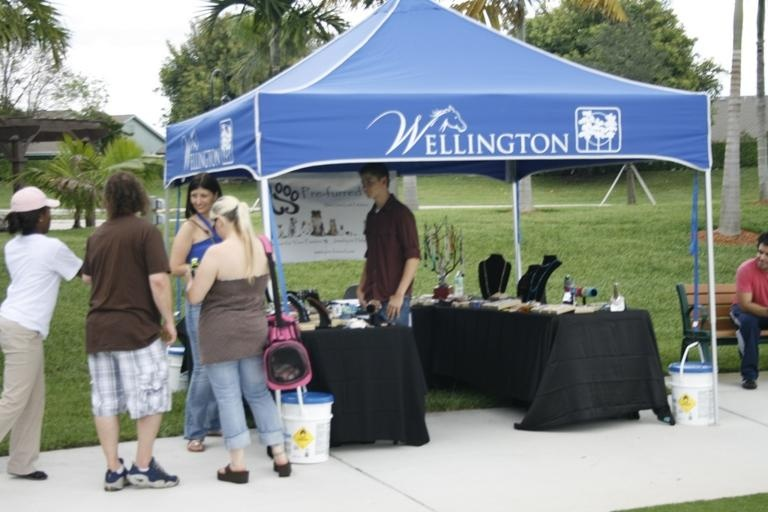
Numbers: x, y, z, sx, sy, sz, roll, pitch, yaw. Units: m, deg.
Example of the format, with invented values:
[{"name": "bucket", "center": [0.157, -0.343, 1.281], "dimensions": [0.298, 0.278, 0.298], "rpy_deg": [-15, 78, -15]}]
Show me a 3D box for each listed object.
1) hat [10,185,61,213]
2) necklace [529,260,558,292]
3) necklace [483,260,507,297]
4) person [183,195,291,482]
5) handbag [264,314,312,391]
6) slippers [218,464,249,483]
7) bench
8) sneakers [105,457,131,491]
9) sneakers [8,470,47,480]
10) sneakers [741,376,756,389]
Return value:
[{"name": "hat", "center": [-3.603, -0.585, 10.963], "dimensions": [0.407, 0.220, 0.283], "rpy_deg": [-3, 9, -25]}, {"name": "necklace", "center": [1.903, 0.223, 12.812], "dimensions": [0.371, 0.335, 0.213], "rpy_deg": [-5, 13, -23]}, {"name": "necklace", "center": [1.412, 0.264, 13.525], "dimensions": [0.311, 0.523, 0.374], "rpy_deg": [-2, 12, -9]}, {"name": "person", "center": [-1.489, 0.870, 10.826], "dimensions": [0.939, 2.848, 0.496], "rpy_deg": [-3, 13, -11]}, {"name": "handbag", "center": [-0.993, 0.967, 10.785], "dimensions": [0.471, 0.716, 0.289], "rpy_deg": [-6, 1, -8]}, {"name": "slippers", "center": [-1.554, 2.229, 11.000], "dimensions": [0.360, 0.146, 0.133], "rpy_deg": [2, 2, 33]}, {"name": "bench", "center": [4.268, 0.831, 13.428], "dimensions": [1.235, 0.707, 0.503], "rpy_deg": [1, -1, -21]}, {"name": "sneakers", "center": [-2.694, 2.240, 10.887], "dimensions": [0.183, 0.233, 0.380], "rpy_deg": [0, 1, 8]}, {"name": "sneakers", "center": [-3.661, 2.251, 10.959], "dimensions": [0.347, 0.137, 0.124], "rpy_deg": [-1, 1, -8]}, {"name": "sneakers", "center": [4.553, 1.577, 13.285], "dimensions": [0.186, 0.112, 0.166], "rpy_deg": [1, 12, 6]}]
